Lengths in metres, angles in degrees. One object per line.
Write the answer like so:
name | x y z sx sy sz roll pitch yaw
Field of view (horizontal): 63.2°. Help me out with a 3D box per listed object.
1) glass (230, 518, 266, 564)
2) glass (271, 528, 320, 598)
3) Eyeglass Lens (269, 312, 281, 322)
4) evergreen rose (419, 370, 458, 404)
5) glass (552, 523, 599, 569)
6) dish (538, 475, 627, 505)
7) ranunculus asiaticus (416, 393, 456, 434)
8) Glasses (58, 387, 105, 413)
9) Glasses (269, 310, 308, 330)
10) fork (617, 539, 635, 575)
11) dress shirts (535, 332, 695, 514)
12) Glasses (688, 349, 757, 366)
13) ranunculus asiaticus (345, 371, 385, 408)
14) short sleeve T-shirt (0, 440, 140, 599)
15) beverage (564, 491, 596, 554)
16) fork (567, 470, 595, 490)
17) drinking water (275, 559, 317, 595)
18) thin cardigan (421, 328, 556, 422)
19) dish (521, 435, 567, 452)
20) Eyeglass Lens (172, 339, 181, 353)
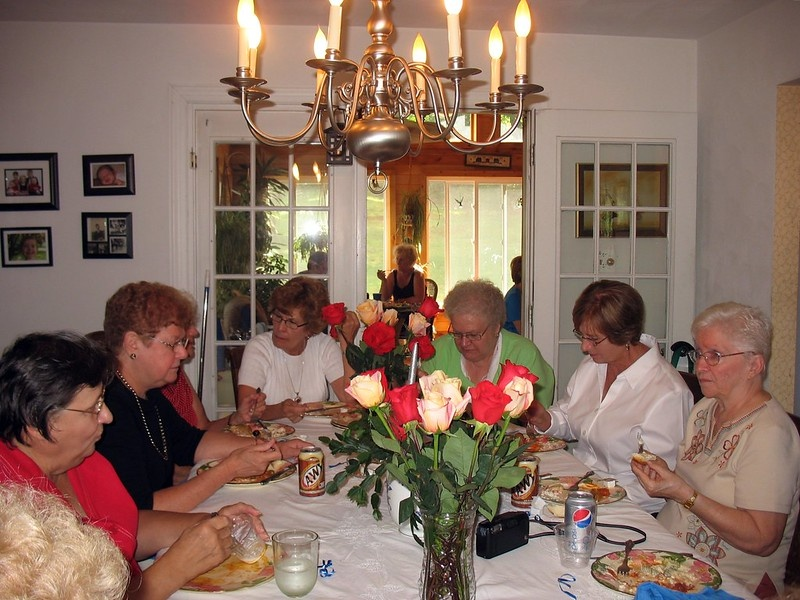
glass | -0.424 0.698 1.821 0.081 0.058 0.083 -25 -36 26
glass | -0.265 0.668 1.657 0.132 0.161 0.135 0 -7 1
Eyeglass Lens | -0.633 0.086 3.296 0.059 0.026 0.058 -5 9 -39
evergreen rose | 0.098 0.204 1.545 0.060 0.039 0.065 5 16 14
glass | 0.476 0.655 1.808 0.109 0.128 0.120 -2 9 -18
dish | 0.594 0.622 2.148 0.153 0.023 0.154 1 6 2
ranunculus asiaticus | 0.077 0.263 1.492 0.087 0.093 0.085 1 10 9
Glasses | -0.824 0.270 1.715 0.033 0.081 0.117 1 2 28
Glasses | -0.532 0.116 3.166 0.107 0.036 0.111 18 -7 9
fork | 0.601 0.697 1.737 0.029 0.018 0.122 3 36 29
dress shirts | 0.824 0.486 2.494 0.384 0.516 0.598 12 7 -24
Glasses | 1.085 0.191 2.191 0.122 0.038 0.119 2 0 1
ranunculus asiaticus | -0.080 0.220 1.585 0.094 0.096 0.076 0 2 -3
short sleeve T-shirt | -0.875 0.562 1.741 0.326 0.403 0.350 -1 2 -23
beverage | 0.489 0.616 1.780 0.097 0.159 0.096 5 -6 -41
fork | 0.607 0.601 2.202 0.040 0.036 0.202 2 5 36
drinking water | -0.261 0.698 1.635 0.091 0.069 0.088 4 -4 -3
thin cardigan | 0.435 0.284 3.039 0.661 0.509 0.352 0 -1 3
dish | 0.569 0.573 2.574 0.166 0.025 0.166 -3 2 0
Eyeglass Lens | -0.782 0.160 2.273 0.006 0.023 0.025 29 -6 29
